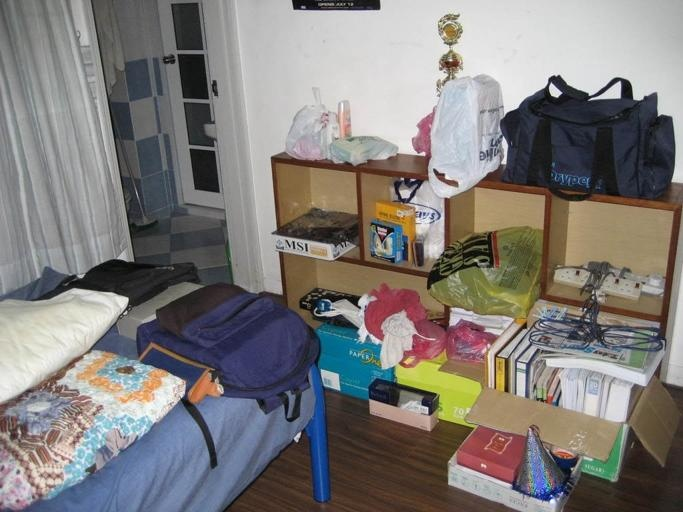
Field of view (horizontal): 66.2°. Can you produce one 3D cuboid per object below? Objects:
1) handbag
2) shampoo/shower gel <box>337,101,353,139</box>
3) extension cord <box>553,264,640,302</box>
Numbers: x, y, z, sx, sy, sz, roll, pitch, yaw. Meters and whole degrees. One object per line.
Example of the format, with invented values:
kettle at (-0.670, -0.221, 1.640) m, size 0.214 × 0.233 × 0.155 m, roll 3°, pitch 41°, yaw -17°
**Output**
handbag at (1.111, -0.497, 2.373) m, size 0.712 × 0.594 × 0.481 m, roll 17°, pitch 29°, yaw 33°
shampoo/shower gel at (0.012, -0.791, 3.024) m, size 0.077 × 0.203 × 0.128 m, roll -1°, pitch 20°, yaw -1°
extension cord at (1.255, 0.127, 2.580) m, size 0.429 × 0.139 × 0.099 m, roll 15°, pitch -17°, yaw 21°
